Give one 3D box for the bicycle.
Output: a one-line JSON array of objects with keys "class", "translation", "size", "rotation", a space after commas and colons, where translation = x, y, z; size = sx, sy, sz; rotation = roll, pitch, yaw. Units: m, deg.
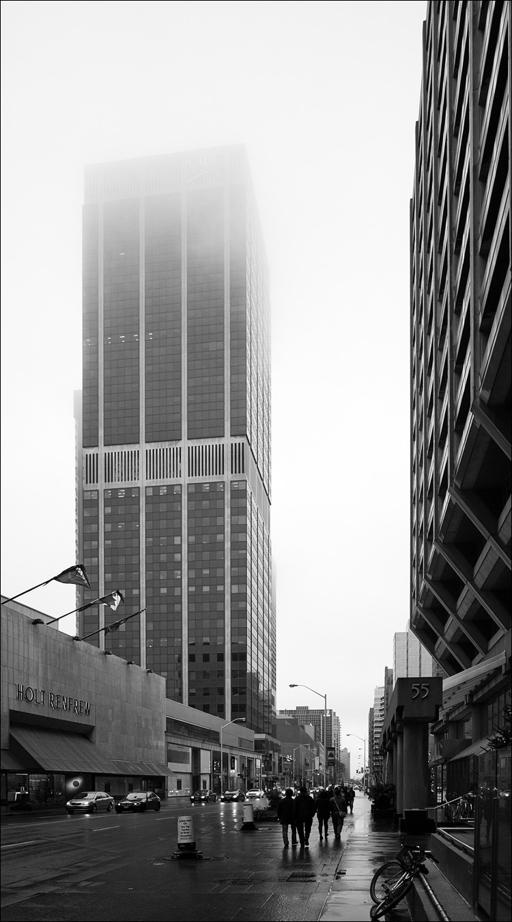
[{"class": "bicycle", "translation": [1.859, 5.486, 16.199], "size": [0.714, 1.039, 2.494], "rotation": [-3, -21, 6]}]
